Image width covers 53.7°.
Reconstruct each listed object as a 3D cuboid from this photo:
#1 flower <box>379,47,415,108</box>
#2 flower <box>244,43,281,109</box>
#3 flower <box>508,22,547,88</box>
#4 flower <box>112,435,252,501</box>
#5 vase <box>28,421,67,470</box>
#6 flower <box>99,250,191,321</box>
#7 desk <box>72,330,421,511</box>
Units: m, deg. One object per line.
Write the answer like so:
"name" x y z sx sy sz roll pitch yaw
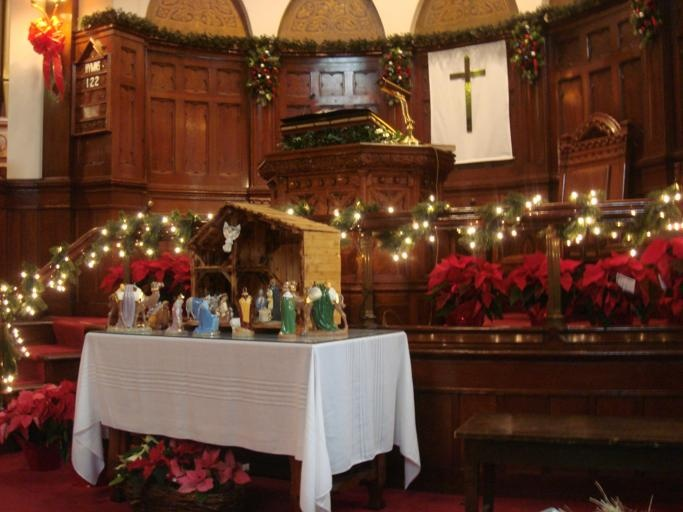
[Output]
"flower" 0.781 -2.732 9.845 0.571 0.549 0.945 0 -47 -7
"flower" -1.147 -2.601 9.688 0.508 0.853 0.308 1 7 -9
"flower" 2.497 -2.734 9.052 0.425 0.775 0.335 -1 -1 19
"flower" -1.080 1.422 4.548 0.557 0.291 0.545 3 -4 7
"vase" -2.343 1.480 5.440 0.302 0.388 0.338 -1 -5 33
"flower" -1.796 0.123 6.230 0.703 0.293 0.722 -7 7 40
"desk" -0.440 0.904 4.695 1.615 0.946 1.244 0 -2 24
